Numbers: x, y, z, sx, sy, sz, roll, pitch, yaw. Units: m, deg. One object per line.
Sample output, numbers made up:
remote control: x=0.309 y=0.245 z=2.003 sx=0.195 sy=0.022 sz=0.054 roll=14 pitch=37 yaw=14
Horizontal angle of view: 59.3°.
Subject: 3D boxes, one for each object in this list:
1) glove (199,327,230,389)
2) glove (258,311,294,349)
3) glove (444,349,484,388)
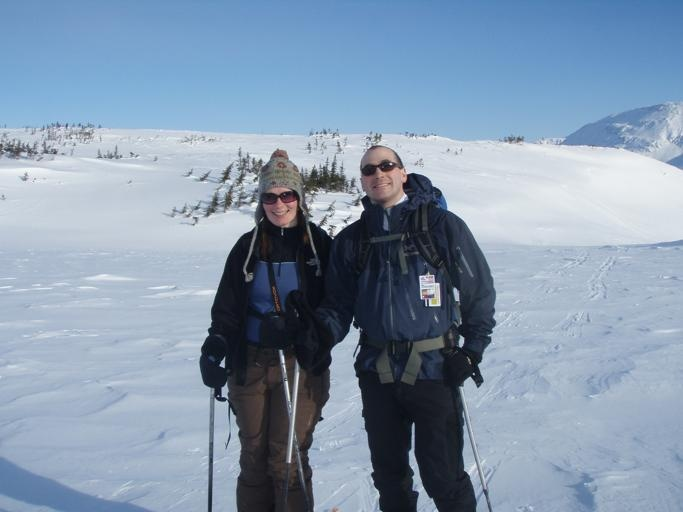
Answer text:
glove: x=-1.391 y=1.058 z=6.257 sx=0.477 sy=0.479 sz=0.175 roll=-2 pitch=-2 yaw=-30
glove: x=-0.649 y=0.737 z=6.026 sx=0.527 sy=0.379 sz=0.249 roll=1 pitch=-1 yaw=10
glove: x=1.179 y=1.072 z=5.753 sx=0.369 sy=0.381 sz=0.254 roll=6 pitch=15 yaw=11
